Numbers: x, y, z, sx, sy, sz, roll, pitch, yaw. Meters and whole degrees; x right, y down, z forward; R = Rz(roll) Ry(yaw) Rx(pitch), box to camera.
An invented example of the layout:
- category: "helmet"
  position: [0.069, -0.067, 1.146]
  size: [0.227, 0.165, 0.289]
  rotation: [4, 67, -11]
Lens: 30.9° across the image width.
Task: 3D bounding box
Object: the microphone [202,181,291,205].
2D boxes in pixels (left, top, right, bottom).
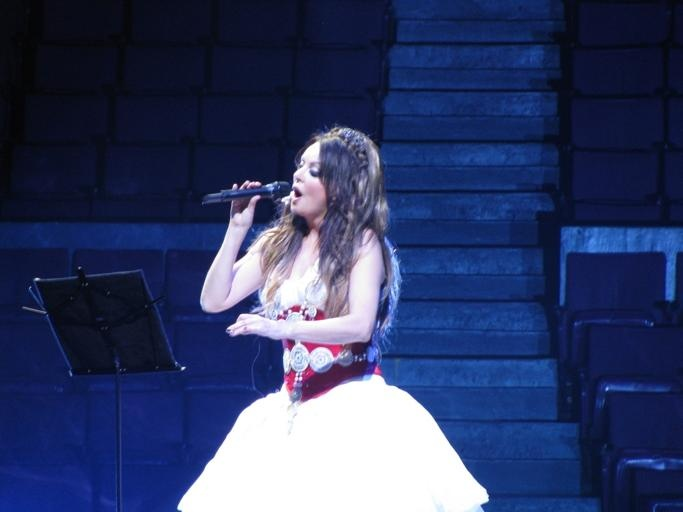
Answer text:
- category: "microphone"
  position: [-0.391, -0.266, 5.257]
  size: [0.332, 0.097, 0.087]
  rotation: [-9, -19, 0]
